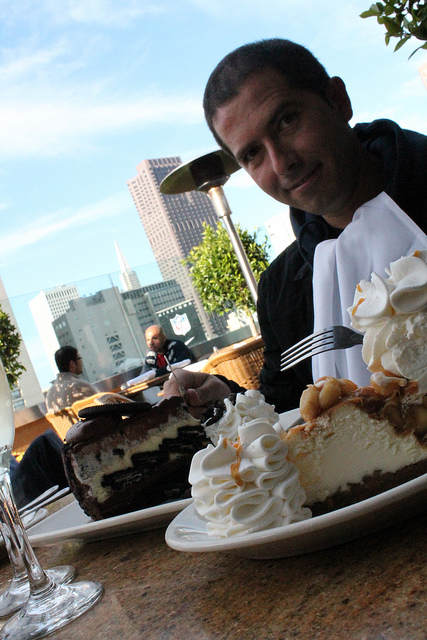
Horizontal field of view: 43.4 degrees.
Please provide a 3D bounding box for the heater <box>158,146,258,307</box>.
[{"bbox_3d":[0.093,-0.618,3.661,0.549,1.145,0.859,-26,2,8],"label":"heater"}]

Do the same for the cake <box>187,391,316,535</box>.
[{"bbox_3d":[0.024,0.144,0.586,0.140,0.123,0.125,-2,-3,-13],"label":"cake"}]

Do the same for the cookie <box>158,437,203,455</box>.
[{"bbox_3d":[-0.062,0.241,1.029,0.067,0.013,0.037,0,13,-19],"label":"cookie"}]

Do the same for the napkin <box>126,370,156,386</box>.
[{"bbox_3d":[-0.676,0.555,5.064,0.279,0.063,0.409,-20,1,-6],"label":"napkin"}]

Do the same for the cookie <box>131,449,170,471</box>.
[{"bbox_3d":[-0.111,0.253,0.983,0.076,0.044,0.011,-23,-1,-43],"label":"cookie"}]

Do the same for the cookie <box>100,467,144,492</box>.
[{"bbox_3d":[-0.158,0.279,0.936,0.059,0.029,0.014,-5,-47,-46],"label":"cookie"}]
